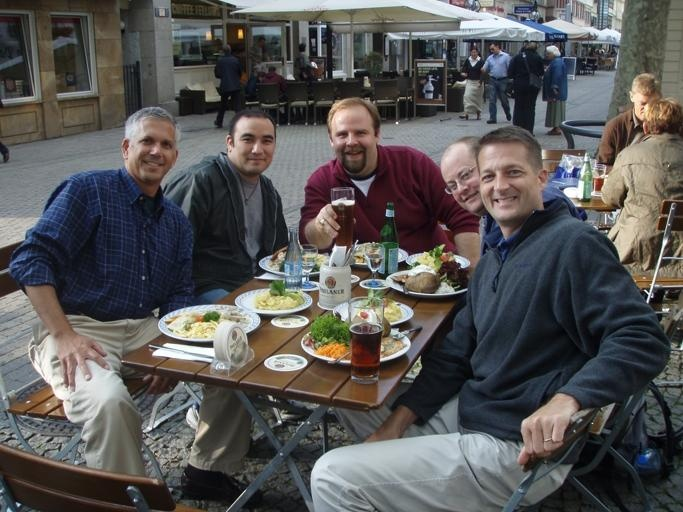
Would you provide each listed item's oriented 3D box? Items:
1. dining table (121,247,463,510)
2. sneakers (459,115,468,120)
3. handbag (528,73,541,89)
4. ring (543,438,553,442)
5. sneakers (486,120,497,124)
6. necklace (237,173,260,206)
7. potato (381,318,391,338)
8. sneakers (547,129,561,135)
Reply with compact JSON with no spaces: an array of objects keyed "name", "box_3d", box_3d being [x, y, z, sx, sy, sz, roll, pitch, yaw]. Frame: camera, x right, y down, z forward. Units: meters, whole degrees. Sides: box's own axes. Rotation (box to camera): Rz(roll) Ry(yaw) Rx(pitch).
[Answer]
[{"name":"dining table","box_3d":[-0.149,0.138,2.333,0.910,0.835,1.605,8,24,22]},{"name":"sneakers","box_3d":[4.509,-5.182,19.341,0.423,0.173,0.159,18,24,22]},{"name":"handbag","box_3d":[5.613,-5.172,15.158,0.418,0.417,0.112,19,-20,-31]},{"name":"ring","box_3d":[0.724,0.647,1.819,0.024,0.017,0.006,2,15,17]},{"name":"sneakers","box_3d":[5.174,-4.651,17.907,0.391,0.153,0.131,4,20,11]},{"name":"necklace","box_3d":[-0.680,-0.487,3.825,0.154,0.189,0.217,-3,48,-10]},{"name":"potato","box_3d":[0.205,0.326,2.390,0.051,0.085,0.066,-1,19,15]},{"name":"sneakers","box_3d":[6.415,-3.769,15.683,0.181,0.211,0.541,-5,22,-4]}]
